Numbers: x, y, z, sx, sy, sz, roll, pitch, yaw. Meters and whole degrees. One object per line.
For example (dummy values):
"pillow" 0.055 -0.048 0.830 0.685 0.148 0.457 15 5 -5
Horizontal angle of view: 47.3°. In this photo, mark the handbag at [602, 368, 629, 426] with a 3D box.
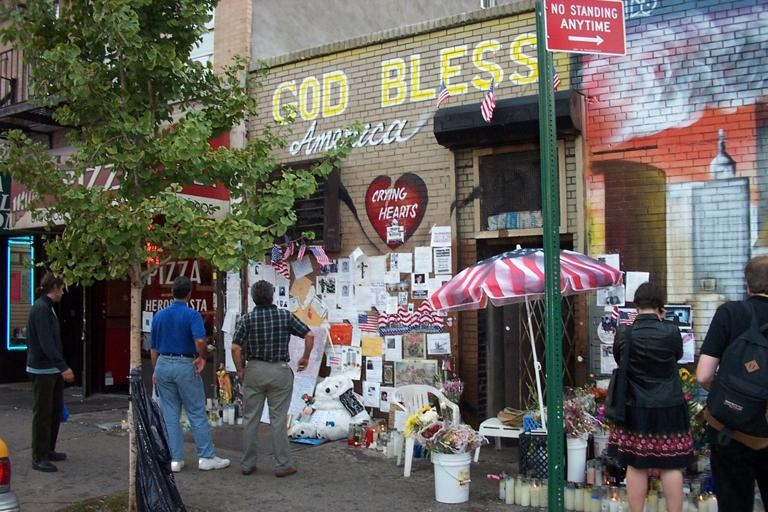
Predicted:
"handbag" 2.596 1.545 9.726 0.212 0.586 0.430 -4 6 3

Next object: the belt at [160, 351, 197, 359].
"belt" -2.703 1.295 11.507 0.476 0.100 0.126 2 -2 -12

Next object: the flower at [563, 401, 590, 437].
"flower" 2.348 1.981 10.654 0.375 0.418 0.139 2 -2 -18

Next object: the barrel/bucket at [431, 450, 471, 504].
"barrel/bucket" 0.824 2.661 10.511 0.521 0.513 0.520 0 -7 0

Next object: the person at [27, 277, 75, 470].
"person" -4.436 1.527 11.590 0.547 2.599 0.750 2 -2 -23

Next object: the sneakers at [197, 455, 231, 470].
"sneakers" -2.246 2.714 11.616 0.463 0.220 0.157 1 4 -24

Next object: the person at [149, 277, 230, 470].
"person" -2.605 1.555 11.575 0.957 2.554 0.586 2 -2 -14

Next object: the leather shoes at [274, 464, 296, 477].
"leather shoes" -1.263 2.771 11.252 0.107 0.131 0.299 3 6 29

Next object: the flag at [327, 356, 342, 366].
"flag" -0.769 1.674 13.866 0.261 0.153 0.017 0 -2 35

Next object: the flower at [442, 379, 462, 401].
"flower" 1.002 1.916 12.477 0.290 0.331 0.298 1 4 11

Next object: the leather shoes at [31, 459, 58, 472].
"leather shoes" -4.443 2.742 11.466 0.293 0.130 0.144 1 -2 11

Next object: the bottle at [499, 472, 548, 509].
"bottle" 1.659 2.799 10.419 0.558 0.335 0.173 1 -2 16

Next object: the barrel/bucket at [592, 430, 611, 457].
"barrel/bucket" 2.696 2.340 10.906 0.182 0.330 0.272 1 -2 14

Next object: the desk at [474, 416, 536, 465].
"desk" 1.594 2.568 12.052 0.513 0.459 0.699 1 -7 -1

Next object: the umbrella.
"umbrella" 1.944 1.152 11.530 2.280 2.479 2.299 -3 0 7

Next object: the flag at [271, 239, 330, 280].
"flag" -1.375 0.070 14.217 1.131 0.598 0.619 1 -2 12

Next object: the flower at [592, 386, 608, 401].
"flower" 2.723 1.730 11.038 0.204 0.097 0.240 21 1 -17

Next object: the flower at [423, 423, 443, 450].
"flower" 0.594 2.195 10.708 0.134 0.291 0.247 4 -20 42
